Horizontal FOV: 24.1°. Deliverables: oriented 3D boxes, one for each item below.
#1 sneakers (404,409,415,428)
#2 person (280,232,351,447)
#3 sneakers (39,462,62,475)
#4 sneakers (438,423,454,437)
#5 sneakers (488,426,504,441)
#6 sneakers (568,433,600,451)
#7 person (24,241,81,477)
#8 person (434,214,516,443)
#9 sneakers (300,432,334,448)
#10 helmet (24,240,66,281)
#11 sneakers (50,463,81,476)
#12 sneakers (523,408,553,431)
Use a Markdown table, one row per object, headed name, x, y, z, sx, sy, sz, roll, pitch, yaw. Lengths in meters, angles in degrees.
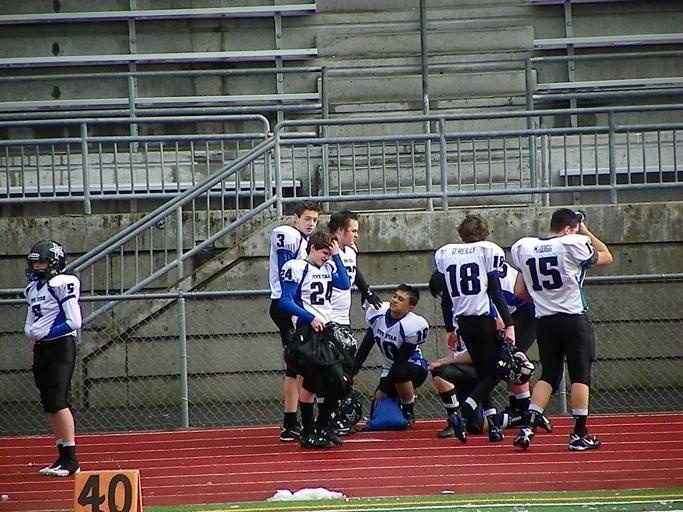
| name | x | y | z | sx | sy | sz | roll | pitch | yaw |
| --- | --- | --- | --- | --- | --- | --- | --- | --- | --- |
| sneakers | 1.000 | 2.401 | 23.548 | 0.102 | 0.220 | 0.157 | -3 | -14 | -28 |
| person | -0.367 | 1.198 | 22.593 | 0.975 | 3.066 | 0.519 | -1 | -2 | 1 |
| sneakers | -4.079 | 2.947 | 22.177 | 0.338 | 0.147 | 0.122 | 10 | -5 | -2 |
| sneakers | 1.501 | 2.535 | 23.013 | 0.118 | 0.120 | 0.303 | -5 | -8 | 28 |
| sneakers | 2.206 | 2.543 | 22.771 | 0.120 | 0.160 | 0.244 | 1 | 3 | 22 |
| sneakers | 3.452 | 2.609 | 22.428 | 0.502 | 0.226 | 0.194 | -1 | 2 | -19 |
| person | -4.017 | 1.419 | 22.256 | 0.786 | 3.274 | 0.345 | -1 | -2 | -3 |
| person | 1.895 | 1.024 | 22.759 | 1.040 | 3.197 | 0.295 | -2 | -2 | 22 |
| sneakers | -0.371 | 2.613 | 22.720 | 0.393 | 0.167 | 0.204 | -2 | 0 | 10 |
| helmet | -4.137 | 0.080 | 22.491 | 0.469 | 0.522 | 0.592 | -4 | -6 | 40 |
| sneakers | -3.817 | 2.936 | 21.989 | 0.371 | 0.161 | 0.191 | 9 | -6 | -18 |
| sneakers | 2.822 | 2.319 | 22.504 | 0.583 | 0.243 | 0.198 | 17 | -1 | -39 |
